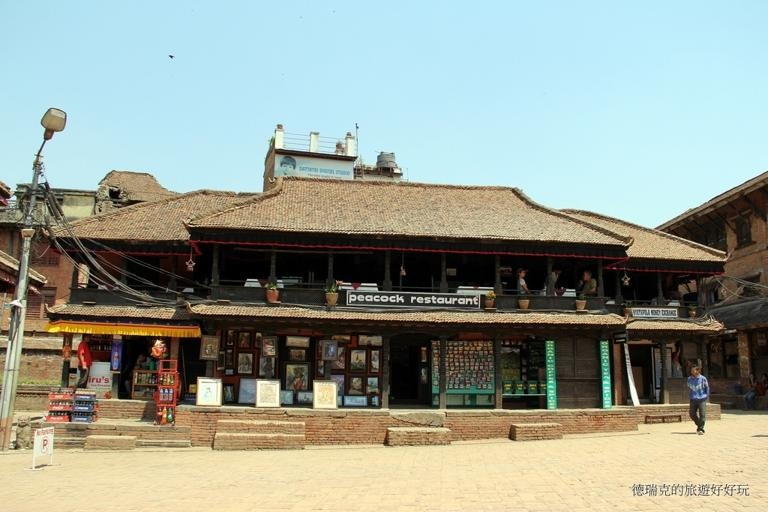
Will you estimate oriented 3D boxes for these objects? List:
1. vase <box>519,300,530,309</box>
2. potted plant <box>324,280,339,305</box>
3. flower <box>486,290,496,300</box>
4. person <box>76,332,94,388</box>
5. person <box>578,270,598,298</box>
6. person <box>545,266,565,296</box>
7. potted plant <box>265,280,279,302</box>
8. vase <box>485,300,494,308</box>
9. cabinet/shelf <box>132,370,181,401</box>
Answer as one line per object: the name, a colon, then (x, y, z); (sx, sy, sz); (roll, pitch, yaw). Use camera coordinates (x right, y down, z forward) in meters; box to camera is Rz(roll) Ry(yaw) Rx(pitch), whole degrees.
vase: (6.914, 2.398, 36.321); (0.551, 0.326, 0.489); (2, -13, -5)
potted plant: (-2.534, 1.784, 35.397); (0.635, 1.234, 0.725); (-1, 2, -5)
flower: (5.245, 1.915, 36.184); (0.455, 0.349, 0.404); (1, -10, -5)
person: (-14.735, 5.143, 36.002); (0.764, 2.618, 1.394); (-2, 2, -22)
person: (10.538, 1.496, 38.137); (0.869, 1.126, 1.390); (3, -7, -4)
person: (8.896, 1.325, 38.605); (0.894, 1.235, 4.200); (0, 1, 13)
potted plant: (-5.387, 1.769, 35.116); (0.613, 0.964, 0.328); (-1, 2, -8)
vase: (5.194, 2.384, 36.063); (0.408, 0.269, 0.389); (-3, -8, 27)
cabinet/shelf: (-10.917, 6.219, 35.087); (2.143, 1.190, 0.653); (0, -18, -5)
